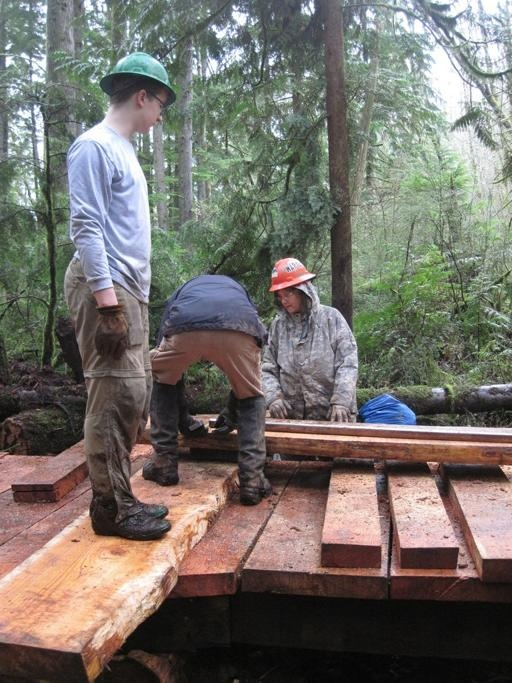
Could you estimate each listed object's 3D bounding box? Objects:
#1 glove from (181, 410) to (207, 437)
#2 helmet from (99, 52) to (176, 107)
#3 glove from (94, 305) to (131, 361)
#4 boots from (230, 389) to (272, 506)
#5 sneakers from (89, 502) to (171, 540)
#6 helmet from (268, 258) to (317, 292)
[{"bbox_3d":[-0.405,0.543,3.455,0.123,0.082,0.193,-6,-3,-16],"label":"glove"},{"bbox_3d":[-0.530,-1.232,2.438,0.280,0.141,0.264,8,-14,36],"label":"helmet"},{"bbox_3d":[-0.579,-0.036,2.167,0.131,0.219,0.139,-3,7,-14],"label":"glove"},{"bbox_3d":[-0.021,0.630,3.081,0.122,0.491,0.245,0,-1,10],"label":"boots"},{"bbox_3d":[-0.535,0.753,2.272,0.272,0.107,0.167,0,3,1],"label":"sneakers"},{"bbox_3d":[0.264,-0.479,3.926,0.261,0.155,0.279,-14,5,46],"label":"helmet"}]
